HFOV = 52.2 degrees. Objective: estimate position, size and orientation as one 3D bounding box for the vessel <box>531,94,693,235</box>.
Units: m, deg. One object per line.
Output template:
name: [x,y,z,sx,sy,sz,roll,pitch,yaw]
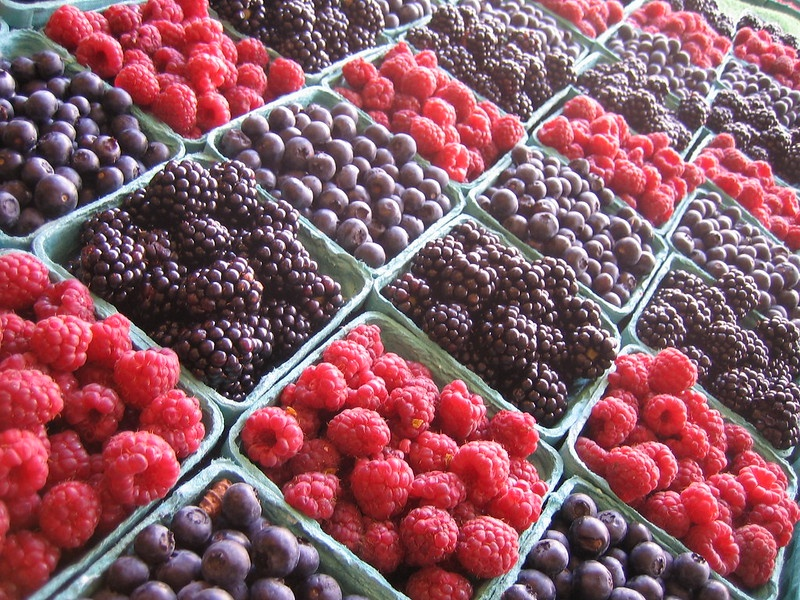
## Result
vessel: [1.676,-1.142,6.399,1.197,0.491,0.924,48,53,9]
